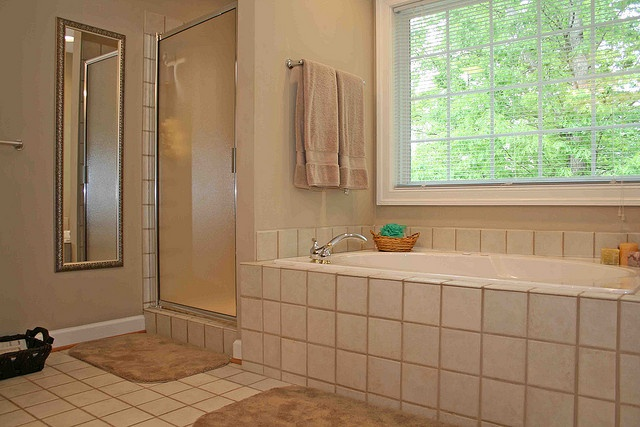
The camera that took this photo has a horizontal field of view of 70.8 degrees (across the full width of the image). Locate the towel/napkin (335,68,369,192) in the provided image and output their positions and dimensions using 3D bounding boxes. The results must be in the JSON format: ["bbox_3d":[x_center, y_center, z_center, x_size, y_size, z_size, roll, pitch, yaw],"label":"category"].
[{"bbox_3d":[0.249,-0.614,3.472,0.228,0.916,0.383,-1,11,3],"label":"towel/napkin"}]

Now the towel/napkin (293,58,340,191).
[{"bbox_3d":[-0.018,-0.634,3.255,0.407,0.901,0.274,-5,11,-17],"label":"towel/napkin"}]

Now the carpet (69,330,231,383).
[{"bbox_3d":[-1.224,0.993,3.149,1.136,0.031,0.534,4,11,28],"label":"carpet"}]

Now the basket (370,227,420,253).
[{"bbox_3d":[0.589,0.228,3.560,0.356,0.149,0.163,0,10,6],"label":"basket"}]

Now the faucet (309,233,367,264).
[{"bbox_3d":[0.096,0.239,3.162,0.445,0.181,0.174,-2,-1,-3],"label":"faucet"}]

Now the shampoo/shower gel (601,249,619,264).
[{"bbox_3d":[1.876,0.279,2.910,0.100,0.088,0.101,4,12,29],"label":"shampoo/shower gel"}]
